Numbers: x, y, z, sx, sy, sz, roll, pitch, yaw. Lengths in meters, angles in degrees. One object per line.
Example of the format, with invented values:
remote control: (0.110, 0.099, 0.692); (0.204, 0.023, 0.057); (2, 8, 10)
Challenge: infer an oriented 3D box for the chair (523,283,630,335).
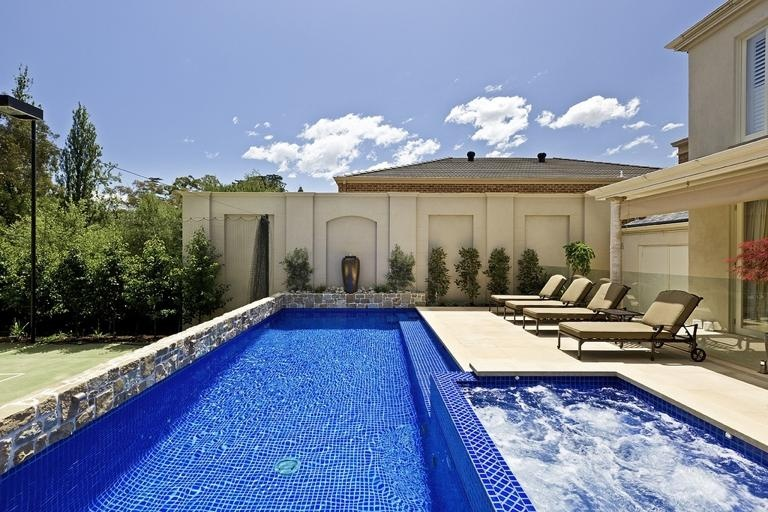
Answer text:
chair: (6.425, 1.739, 15.847); (2.853, 1.779, 1.825); (0, -3, 9)

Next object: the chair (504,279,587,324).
chair: (6.037, 1.678, 17.084); (2.479, 1.561, 1.568); (-1, -3, 5)

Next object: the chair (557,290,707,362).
chair: (7.310, 2.079, 14.036); (3.104, 1.989, 2.209); (0, -4, 5)

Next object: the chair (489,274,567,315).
chair: (5.744, 1.475, 18.330); (2.412, 1.479, 1.614); (0, -3, 6)

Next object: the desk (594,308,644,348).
desk: (7.639, 2.431, 14.988); (1.110, 1.204, 1.264); (-1, 2, -3)
